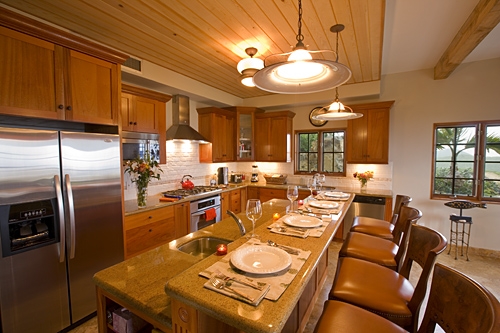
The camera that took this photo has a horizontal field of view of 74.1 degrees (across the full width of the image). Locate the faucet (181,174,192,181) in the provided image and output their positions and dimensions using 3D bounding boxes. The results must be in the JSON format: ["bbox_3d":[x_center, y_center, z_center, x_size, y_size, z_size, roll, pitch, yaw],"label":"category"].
[{"bbox_3d":[-1.140,0.184,5.945,0.161,0.138,0.093,6,-8,-35],"label":"faucet"}]

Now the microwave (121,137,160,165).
[{"bbox_3d":[-1.647,-0.232,4.844,0.151,0.392,0.468,-2,-2,34],"label":"microwave"}]

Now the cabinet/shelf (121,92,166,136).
[{"bbox_3d":[-1.596,-0.782,4.939,0.454,0.529,0.803,0,-1,31],"label":"cabinet/shelf"}]

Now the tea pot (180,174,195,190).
[{"bbox_3d":[-1.131,0.268,5.820,0.292,0.264,0.200,4,-1,-28],"label":"tea pot"}]

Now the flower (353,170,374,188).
[{"bbox_3d":[2.033,0.226,5.940,0.306,0.284,0.307,2,5,26],"label":"flower"}]

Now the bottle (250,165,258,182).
[{"bbox_3d":[0.087,0.138,7.081,0.179,0.354,0.361,-3,3,1],"label":"bottle"}]

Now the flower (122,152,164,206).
[{"bbox_3d":[-1.558,0.163,5.031,0.761,0.843,0.699,2,6,-1],"label":"flower"}]

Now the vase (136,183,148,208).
[{"bbox_3d":[-1.567,0.389,4.762,0.131,0.354,0.202,-4,4,-19],"label":"vase"}]
